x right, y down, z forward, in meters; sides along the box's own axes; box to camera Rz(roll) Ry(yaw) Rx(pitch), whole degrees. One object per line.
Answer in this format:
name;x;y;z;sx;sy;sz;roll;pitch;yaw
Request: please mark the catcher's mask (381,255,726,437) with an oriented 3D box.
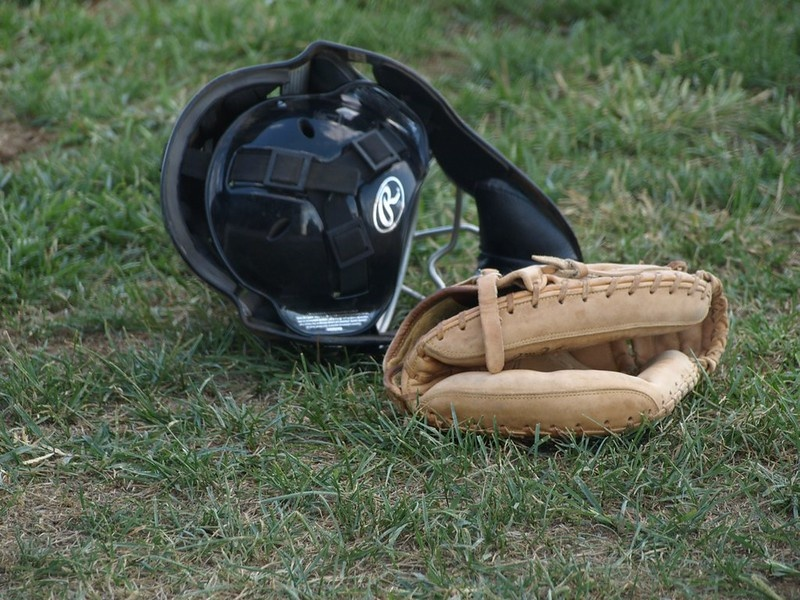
catcher's mask;0.466;0.209;2.650;0.787;0.356;0.578;1;47;-3
